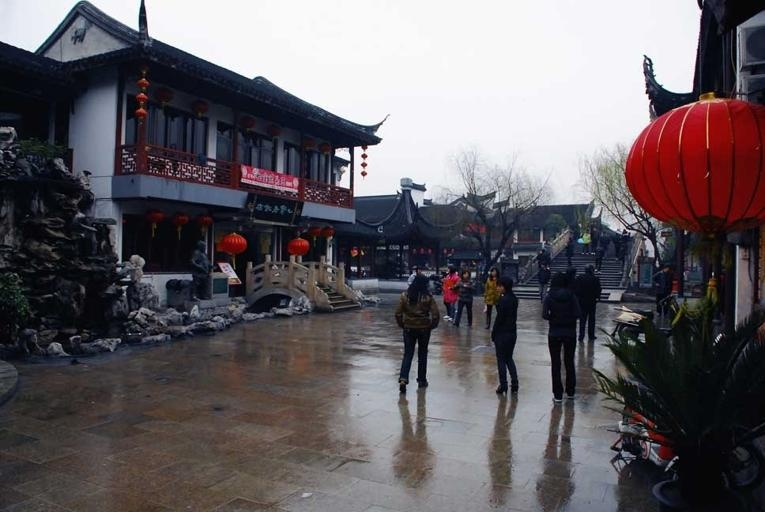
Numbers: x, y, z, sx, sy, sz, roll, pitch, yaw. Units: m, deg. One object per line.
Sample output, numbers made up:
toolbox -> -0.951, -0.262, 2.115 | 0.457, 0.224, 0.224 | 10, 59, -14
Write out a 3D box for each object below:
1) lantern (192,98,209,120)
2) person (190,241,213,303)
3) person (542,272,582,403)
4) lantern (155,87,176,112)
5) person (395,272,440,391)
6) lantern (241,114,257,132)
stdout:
lantern -> -5.587, -4.505, 16.461 | 0.461, 0.568, 0.488 | 5, 7, 37
person -> -5.243, 0.407, 15.682 | 0.603, 1.670, 0.425 | -2, 5, -33
person -> 2.656, 1.170, 8.101 | 0.508, 1.879, 0.733 | 2, 4, 20
lantern -> -6.235, -4.527, 15.442 | 0.416, 0.694, 0.422 | 27, 36, 30
person -> 0.567, 1.161, 8.866 | 0.662, 1.821, 1.439 | 1, 4, 6
lantern -> -4.390, -4.400, 17.760 | 0.500, 0.600, 0.508 | 2, 3, 40
